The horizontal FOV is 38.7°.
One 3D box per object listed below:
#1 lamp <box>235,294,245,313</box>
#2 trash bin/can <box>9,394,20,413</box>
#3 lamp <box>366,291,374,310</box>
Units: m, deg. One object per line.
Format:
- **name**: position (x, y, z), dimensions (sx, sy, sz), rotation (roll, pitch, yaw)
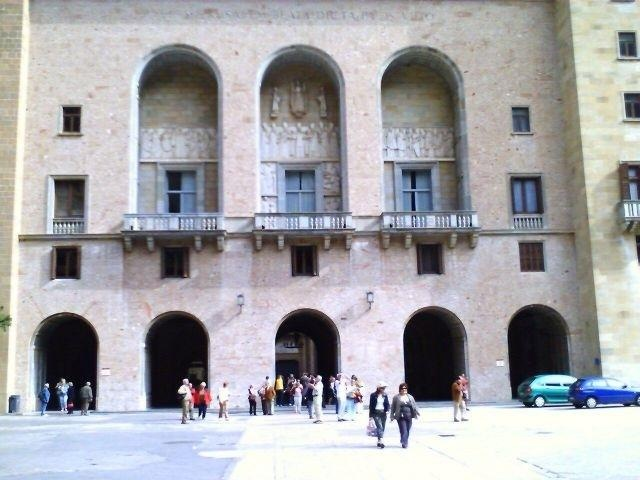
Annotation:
- **lamp**: position (-4.645, 3.711, 53.004), dimensions (0.479, 1.138, 0.417), rotation (0, -9, -7)
- **trash bin/can**: position (-17.221, 9.305, 51.160), dimensions (0.602, 1.000, 0.313), rotation (2, -10, -19)
- **lamp**: position (2.918, 3.588, 53.369), dimensions (0.466, 1.068, 0.492), rotation (-2, -9, 3)
